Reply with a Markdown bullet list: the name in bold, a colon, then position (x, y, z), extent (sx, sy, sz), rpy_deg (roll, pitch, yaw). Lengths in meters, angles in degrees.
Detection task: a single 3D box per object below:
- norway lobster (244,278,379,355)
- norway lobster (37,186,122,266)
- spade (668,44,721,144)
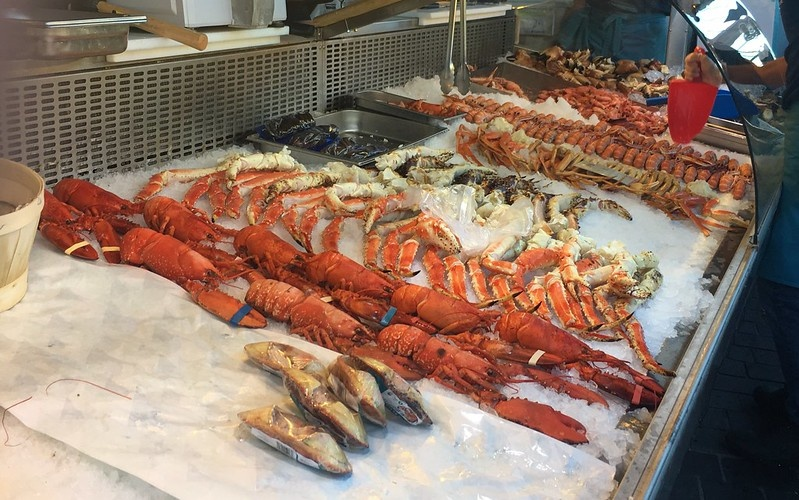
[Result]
- **norway lobster**: position (-0.395, 0.267, 2.146), extent (0.548, 0.132, 0.214), rpy_deg (26, 26, 11)
- **norway lobster**: position (-1.436, -0.089, 2.376), extent (0.253, 0.159, 0.493), rpy_deg (-24, 41, -36)
- **spade**: position (1.471, -0.795, 2.670), extent (0.260, 0.484, 0.120), rpy_deg (17, 31, 21)
